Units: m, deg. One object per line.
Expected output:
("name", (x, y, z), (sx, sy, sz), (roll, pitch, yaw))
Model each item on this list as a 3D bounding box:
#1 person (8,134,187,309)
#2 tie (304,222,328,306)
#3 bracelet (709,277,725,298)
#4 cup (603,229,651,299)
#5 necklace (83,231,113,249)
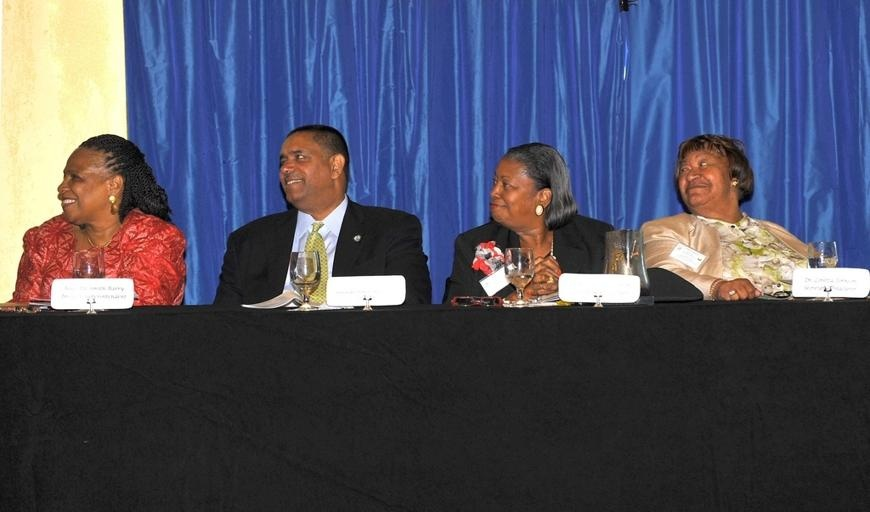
("person", (-1.796, -0.190, 5.274), (0.890, 0.763, 0.585), (-5, -11, 36))
("tie", (-0.585, 0.050, 4.908), (0.134, 0.478, 0.132), (-11, -43, 5))
("bracelet", (1.349, 0.155, 4.797), (0.038, 0.072, 0.099), (16, -46, 5))
("cup", (0.843, 0.034, 4.483), (0.233, 0.305, 0.212), (-2, -7, 0))
("necklace", (-1.803, -0.086, 5.345), (0.085, 0.075, 0.067), (38, 9, 24))
